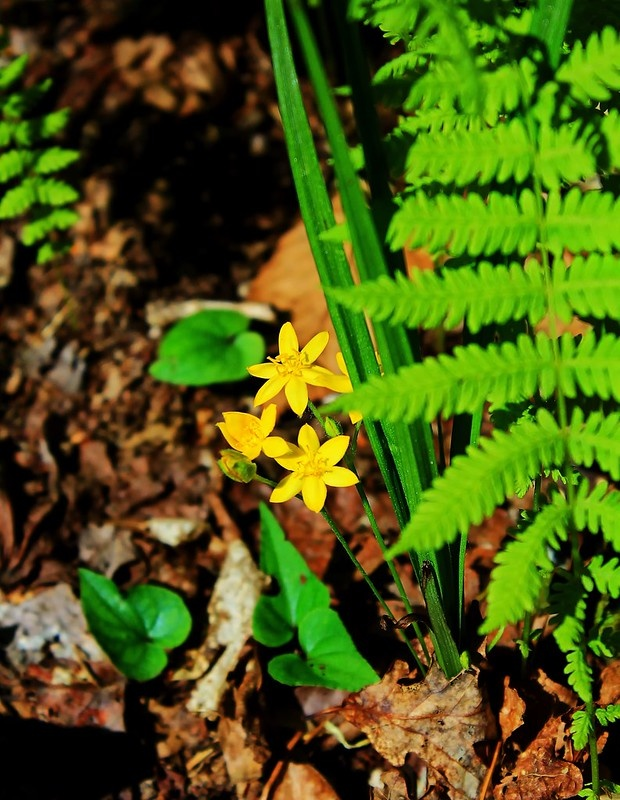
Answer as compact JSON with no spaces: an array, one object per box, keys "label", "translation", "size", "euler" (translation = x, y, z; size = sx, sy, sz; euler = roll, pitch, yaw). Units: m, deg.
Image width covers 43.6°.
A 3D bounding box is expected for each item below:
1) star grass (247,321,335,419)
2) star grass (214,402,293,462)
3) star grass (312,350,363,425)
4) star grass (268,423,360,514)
[{"label":"star grass","translation":[-0.046,-0.096,2.121],"size":[0.261,0.232,0.060],"euler":[-24,45,6]},{"label":"star grass","translation":[-0.161,0.099,2.124],"size":[0.154,0.057,0.144],"euler":[-5,26,35]},{"label":"star grass","translation":[0.105,-0.037,2.116],"size":[0.094,0.035,0.229],"euler":[-37,67,28]},{"label":"star grass","translation":[0.012,0.182,2.083],"size":[0.255,0.069,0.262],"euler":[-12,12,25]}]
